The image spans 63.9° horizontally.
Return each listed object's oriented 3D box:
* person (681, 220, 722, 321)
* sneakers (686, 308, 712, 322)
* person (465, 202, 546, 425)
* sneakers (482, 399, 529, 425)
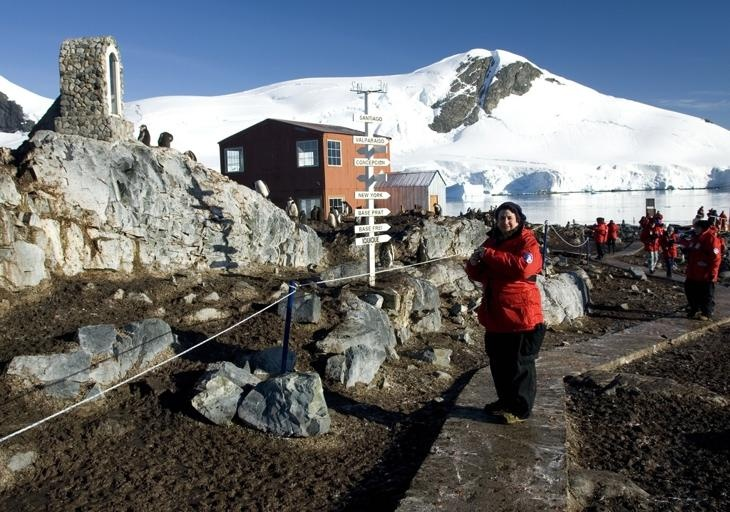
[{"bbox_3d":[7.309,0.301,12.685,0.625,2.060,1.131,5,10,29],"label":"person"},{"bbox_3d":[7.132,1.275,12.452,0.324,0.161,0.249,2,-1,7],"label":"sneakers"},{"bbox_3d":[1.825,0.753,7.477,0.891,2.809,0.499,3,9,15],"label":"person"},{"bbox_3d":[1.838,2.015,7.702,0.207,0.278,0.609,-5,16,-32],"label":"sneakers"}]
